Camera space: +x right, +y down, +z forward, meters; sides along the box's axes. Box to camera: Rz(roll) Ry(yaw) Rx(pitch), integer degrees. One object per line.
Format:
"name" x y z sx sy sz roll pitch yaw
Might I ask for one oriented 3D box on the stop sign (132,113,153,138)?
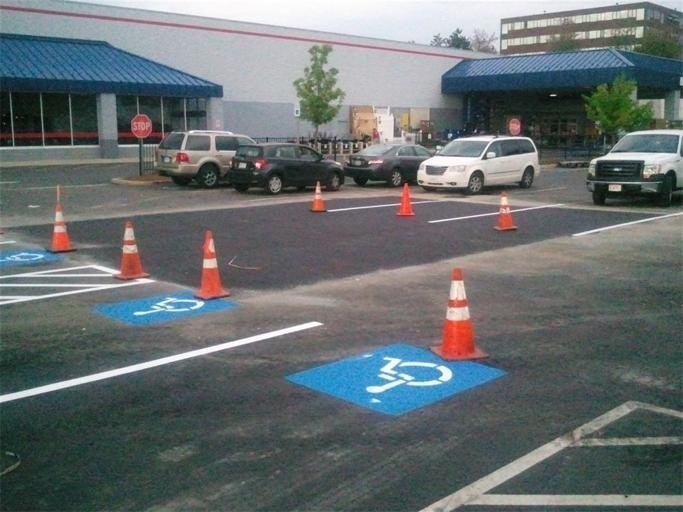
"stop sign" -8.079 -5.249 25.267 0.636 0.856 0.787 -2 13 -9

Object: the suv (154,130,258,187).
"suv" -5.071 -3.804 24.028 3.651 1.534 1.999 -15 20 -42

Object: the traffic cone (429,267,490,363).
"traffic cone" 1.261 0.604 6.880 0.695 0.896 0.643 5 6 44

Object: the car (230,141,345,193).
"car" -2.030 -3.208 22.658 3.213 1.302 1.927 -10 16 -33

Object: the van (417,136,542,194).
"van" 5.103 -3.371 23.010 4.338 1.709 2.130 -5 7 -39

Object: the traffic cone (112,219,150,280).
"traffic cone" -3.402 -0.112 10.070 0.675 0.846 0.648 -4 9 -12

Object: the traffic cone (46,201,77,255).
"traffic cone" -5.442 -0.548 12.077 0.716 0.856 0.708 5 10 15

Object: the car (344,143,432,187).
"car" 2.043 -3.708 25.150 3.602 1.211 1.633 -11 14 -41

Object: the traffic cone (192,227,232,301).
"traffic cone" -1.886 0.120 9.022 0.573 0.891 0.610 4 8 22
